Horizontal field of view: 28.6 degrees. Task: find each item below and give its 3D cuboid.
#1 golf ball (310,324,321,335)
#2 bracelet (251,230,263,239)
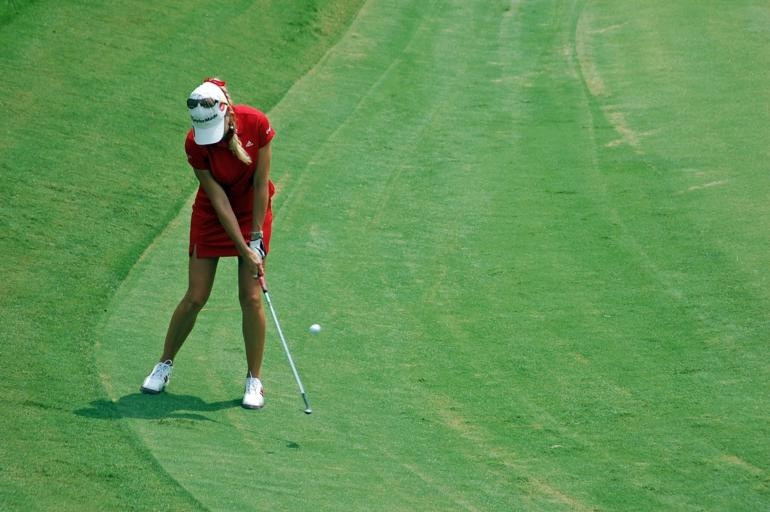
[{"bbox_3d":[-0.684,0.721,15.050,0.092,0.090,0.084,-16,63,35],"label":"golf ball"},{"bbox_3d":[-1.195,-0.198,14.139,0.101,0.076,0.079,4,4,13],"label":"bracelet"}]
